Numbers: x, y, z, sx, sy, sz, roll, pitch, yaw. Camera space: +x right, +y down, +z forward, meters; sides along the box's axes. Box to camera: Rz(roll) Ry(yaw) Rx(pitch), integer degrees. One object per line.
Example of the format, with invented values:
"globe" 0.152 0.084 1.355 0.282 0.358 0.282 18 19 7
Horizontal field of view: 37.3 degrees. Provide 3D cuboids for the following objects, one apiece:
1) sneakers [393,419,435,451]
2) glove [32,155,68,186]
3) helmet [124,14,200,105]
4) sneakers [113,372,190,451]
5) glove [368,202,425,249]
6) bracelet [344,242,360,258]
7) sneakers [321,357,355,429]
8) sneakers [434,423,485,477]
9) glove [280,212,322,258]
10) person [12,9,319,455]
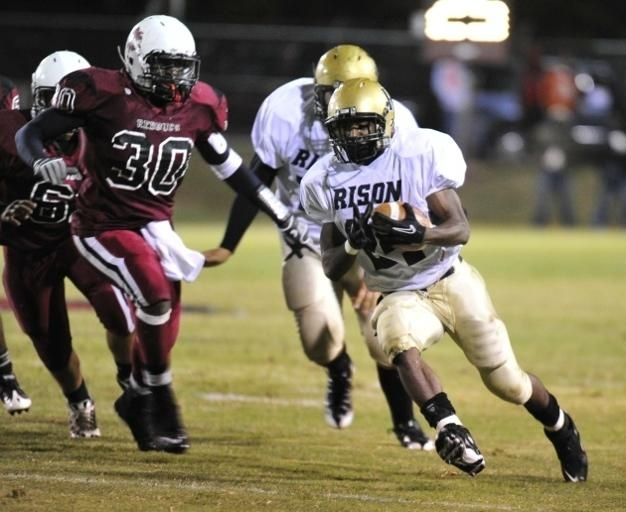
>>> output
"sneakers" 0.565 1.005 5.163 0.100 0.110 0.261 -5 -7 -25
"glove" -1.255 -0.388 4.295 0.129 0.131 0.204 -9 9 -22
"helmet" -0.798 -1.011 4.690 0.389 0.370 0.474 -16 37 -38
"sneakers" -0.824 0.790 4.711 0.448 0.187 0.223 31 29 36
"glove" 0.408 -0.121 4.273 0.277 0.248 0.273 3 6 8
"bracelet" 0.176 -0.026 4.315 0.067 0.061 0.062 24 -29 1
"sneakers" 0.142 0.811 5.444 0.156 0.419 0.186 0 -14 -4
"sneakers" 0.637 0.830 4.044 0.236 0.174 0.112 46 0 10
"glove" -0.085 -0.088 5.311 0.158 0.123 0.361 27 21 -46
"person" -0.917 -0.116 4.604 0.954 2.158 0.506 2 6 -11
